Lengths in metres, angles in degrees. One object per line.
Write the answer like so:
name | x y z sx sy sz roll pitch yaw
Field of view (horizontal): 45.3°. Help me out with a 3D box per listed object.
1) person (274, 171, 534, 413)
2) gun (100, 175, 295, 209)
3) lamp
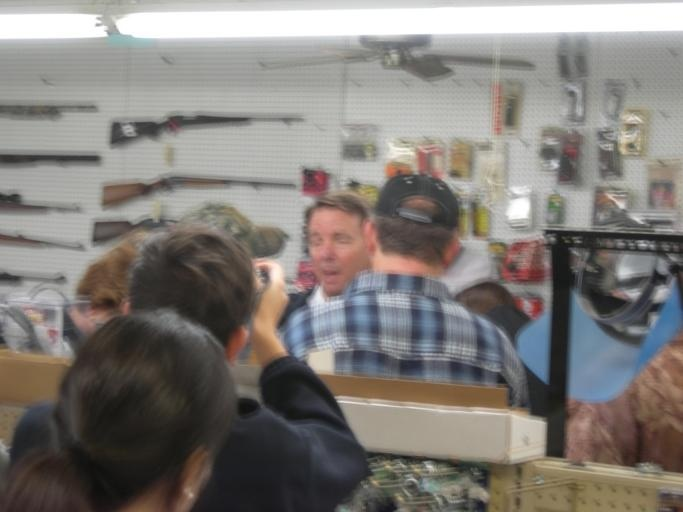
person | 0.380 0.209 5.017 1.539 1.320 0.766 7 -4 -1
gun | -0.826 -0.387 4.982 1.111 0.234 0.121 3 -10 4
lamp | -0.013 -1.314 4.637 3.707 0.153 0.419 1 4 8
